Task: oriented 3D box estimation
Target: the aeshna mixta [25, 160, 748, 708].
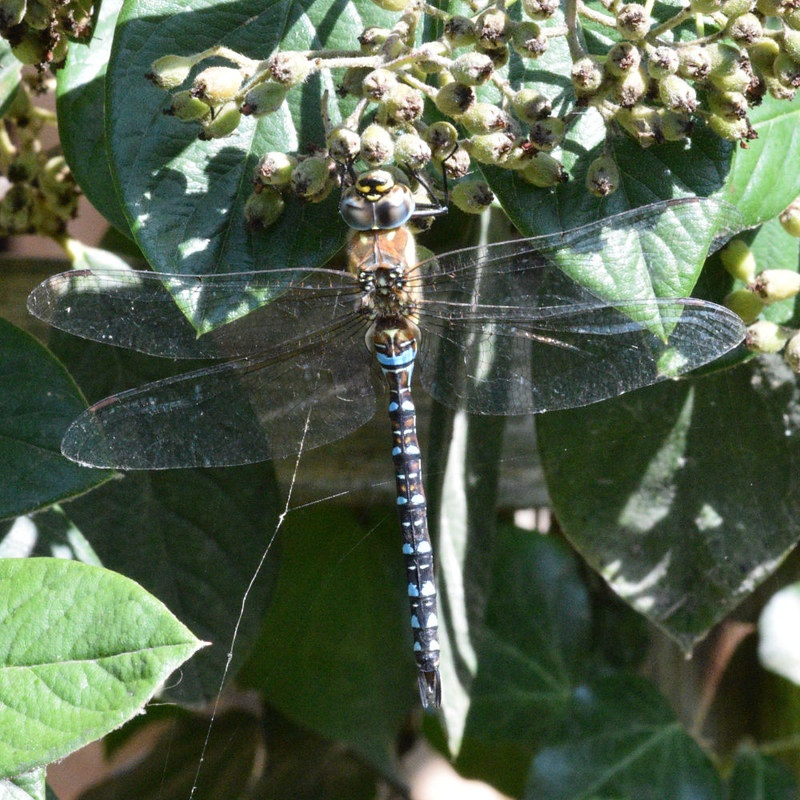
[{"bbox_3d":[-0.046,-0.035,1.260,0.740,0.464,0.481,24,68,6],"label":"aeshna mixta"}]
